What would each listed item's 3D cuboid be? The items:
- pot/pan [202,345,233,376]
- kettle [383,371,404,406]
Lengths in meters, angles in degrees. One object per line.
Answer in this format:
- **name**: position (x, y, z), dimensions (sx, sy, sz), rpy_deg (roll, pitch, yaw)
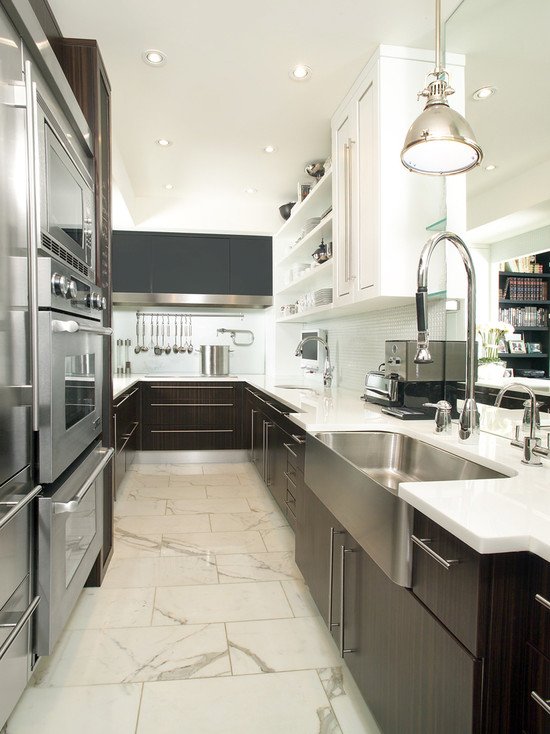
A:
- **pot/pan**: position (-0.577, -0.059, 4.979), dimensions (0.235, 0.263, 0.262), rpy_deg (0, 4, -3)
- **kettle**: position (0.529, 0.104, 2.308), dimensions (0.085, 0.177, 0.108), rpy_deg (2, 5, 23)
